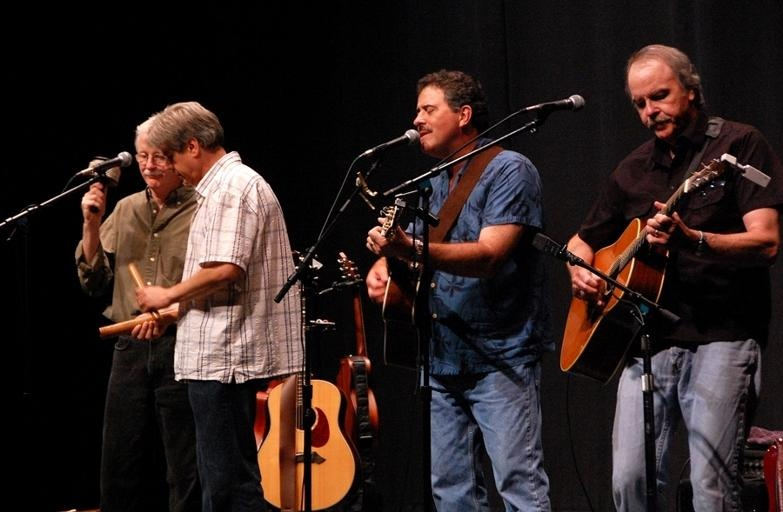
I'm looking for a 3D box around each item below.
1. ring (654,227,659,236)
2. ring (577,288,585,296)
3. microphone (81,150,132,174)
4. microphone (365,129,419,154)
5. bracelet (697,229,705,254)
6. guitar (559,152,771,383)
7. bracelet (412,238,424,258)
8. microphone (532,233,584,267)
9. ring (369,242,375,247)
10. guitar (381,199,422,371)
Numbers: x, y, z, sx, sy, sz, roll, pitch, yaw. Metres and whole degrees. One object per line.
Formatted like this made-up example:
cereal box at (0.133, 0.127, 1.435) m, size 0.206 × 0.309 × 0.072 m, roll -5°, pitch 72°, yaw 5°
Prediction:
ring at (1.423, -0.136, 4.605) m, size 0.018 × 0.026 × 0.006 m, roll 26°, pitch 11°, yaw 36°
ring at (1.107, 0.214, 5.000) m, size 0.038 × 0.010 × 0.037 m, roll -1°, pitch -25°, yaw -1°
microphone at (-1.781, -0.587, 5.392) m, size 0.293 × 0.115 × 0.257 m, roll -4°, pitch 3°, yaw -20°
microphone at (0.039, -0.634, 4.797) m, size 0.197 × 0.130 × 0.393 m, roll -2°, pitch 3°, yaw 33°
bracelet at (1.668, -0.072, 4.623) m, size 0.033 × 0.095 × 0.071 m, roll -4°, pitch 10°, yaw 6°
guitar at (1.372, 0.203, 4.900) m, size 0.241 × 0.737 × 1.620 m, roll 16°, pitch -29°, yaw -3°
bracelet at (0.146, -0.050, 4.761) m, size 0.025 × 0.081 × 0.080 m, roll 7°, pitch -20°, yaw -18°
microphone at (0.982, -0.034, 5.040) m, size 0.284 × 0.112 × 0.076 m, roll 33°, pitch -21°, yaw -5°
ring at (-0.100, -0.063, 4.679) m, size 0.028 × 0.028 × 0.010 m, roll 0°, pitch 15°, yaw 39°
guitar at (0.052, 0.229, 4.917) m, size 0.209 × 0.811 × 0.425 m, roll 0°, pitch 9°, yaw 5°
